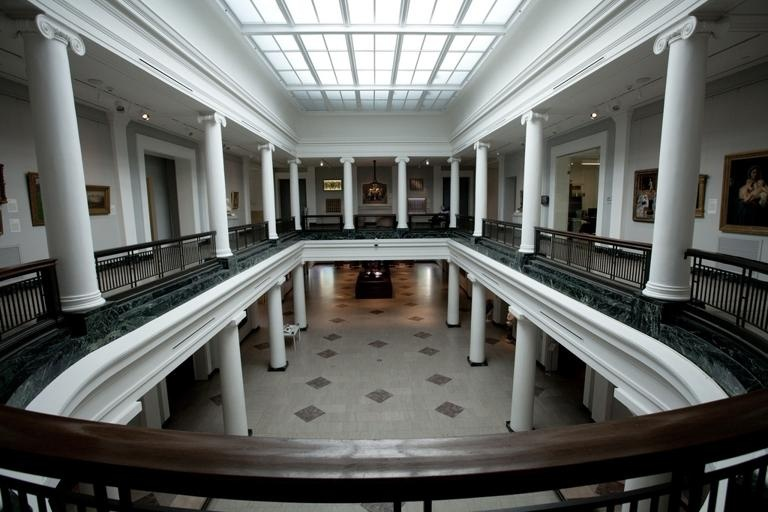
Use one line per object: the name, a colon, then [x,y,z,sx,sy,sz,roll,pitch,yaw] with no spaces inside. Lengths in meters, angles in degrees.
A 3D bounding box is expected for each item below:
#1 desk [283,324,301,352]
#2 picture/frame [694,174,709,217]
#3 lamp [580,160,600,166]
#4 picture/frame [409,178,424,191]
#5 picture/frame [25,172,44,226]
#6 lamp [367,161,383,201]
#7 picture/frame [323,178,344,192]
desk: [-3.387,2.897,15.652,0.775,0.778,1.079,0,17,-1]
picture/frame: [6.180,-1.175,8.266,0.137,0.846,0.243,1,12,11]
lamp: [8.134,-3.645,16.683,0.578,0.211,2.110,4,12,24]
picture/frame: [1.749,-3.966,23.118,0.782,0.577,0.059,0,-1,-6]
picture/frame: [-6.717,-1.095,8.199,0.174,1.035,0.318,-4,12,-11]
lamp: [-0.561,-3.924,22.972,0.891,1.923,0.896,7,15,34]
picture/frame: [-2.800,-3.956,23.325,1.080,0.647,0.106,0,4,-5]
